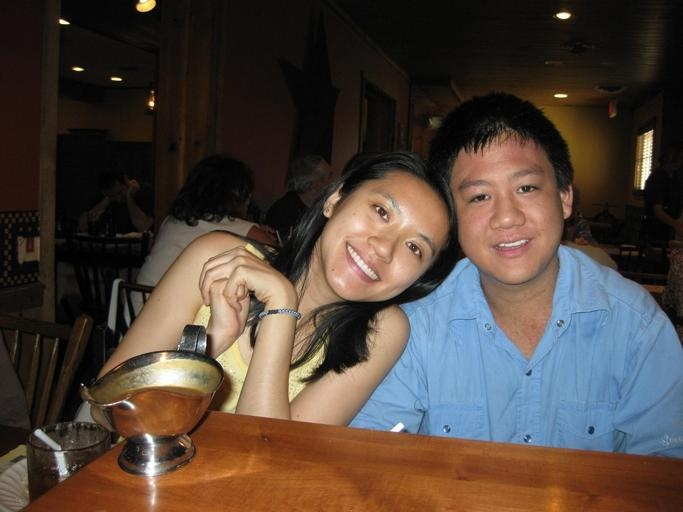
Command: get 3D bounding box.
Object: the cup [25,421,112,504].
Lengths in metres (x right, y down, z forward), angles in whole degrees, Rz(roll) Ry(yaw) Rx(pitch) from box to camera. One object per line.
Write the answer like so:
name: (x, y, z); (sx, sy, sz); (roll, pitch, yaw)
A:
cup: (-0.558, 0.400, 1.086); (0.146, 0.169, 0.167); (0, -9, 4)

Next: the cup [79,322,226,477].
cup: (-0.336, 0.274, 1.016); (0.185, 0.161, 0.231); (9, 20, 19)

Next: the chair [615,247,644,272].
chair: (3.389, 0.048, 6.271); (0.229, 0.364, 0.250); (4, 18, 21)

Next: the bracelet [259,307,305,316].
bracelet: (-0.182, 0.171, 1.577); (0.117, 0.036, 0.027); (0, 10, -9)

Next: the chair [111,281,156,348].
chair: (-0.919, 0.258, 2.330); (0.201, 0.315, 0.184); (-5, 23, -23)
